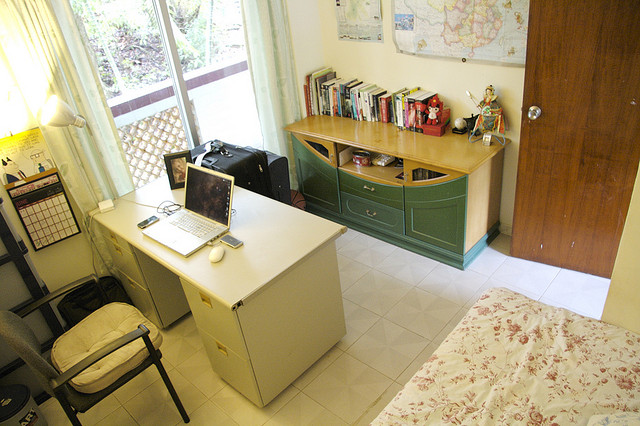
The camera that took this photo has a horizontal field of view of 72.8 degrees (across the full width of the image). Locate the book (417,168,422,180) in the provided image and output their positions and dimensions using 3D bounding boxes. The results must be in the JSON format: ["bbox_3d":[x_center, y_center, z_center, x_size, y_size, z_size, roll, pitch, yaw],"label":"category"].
[{"bbox_3d":[0.897,-0.348,3.910,0.040,0.097,0.043,0,31,10],"label":"book"}]

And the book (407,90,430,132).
[{"bbox_3d":[0.915,-0.937,4.028,0.117,0.361,0.335,6,13,20],"label":"book"}]

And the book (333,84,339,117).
[{"bbox_3d":[0.159,-1.172,4.534,0.052,0.296,0.070,2,32,14],"label":"book"}]

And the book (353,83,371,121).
[{"bbox_3d":[0.425,-1.111,4.385,0.153,0.255,0.269,15,43,33],"label":"book"}]

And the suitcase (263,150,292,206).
[{"bbox_3d":[-0.462,-0.308,4.318,0.308,0.519,0.168,-7,14,19],"label":"suitcase"}]

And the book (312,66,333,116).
[{"bbox_3d":[0.016,-1.274,4.611,0.063,0.436,0.377,15,37,22],"label":"book"}]

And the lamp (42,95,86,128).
[{"bbox_3d":[-1.918,-0.769,3.285,0.283,0.218,0.257,-11,35,-20],"label":"lamp"}]

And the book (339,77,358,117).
[{"bbox_3d":[0.289,-1.171,4.472,0.165,0.295,0.301,14,45,22],"label":"book"}]

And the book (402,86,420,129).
[{"bbox_3d":[0.852,-0.971,4.067,0.102,0.292,0.306,8,40,22],"label":"book"}]

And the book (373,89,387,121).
[{"bbox_3d":[0.589,-1.059,4.293,0.034,0.243,0.213,12,39,25],"label":"book"}]

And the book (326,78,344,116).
[{"bbox_3d":[0.152,-1.201,4.539,0.104,0.280,0.297,15,40,23],"label":"book"}]

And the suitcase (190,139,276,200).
[{"bbox_3d":[-0.859,-0.504,4.107,0.620,0.546,0.785,-23,39,-37],"label":"suitcase"}]

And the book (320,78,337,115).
[{"bbox_3d":[0.086,-1.229,4.574,0.096,0.274,0.292,10,36,19],"label":"book"}]

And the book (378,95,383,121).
[{"bbox_3d":[0.593,-1.046,4.290,0.023,0.216,0.163,7,33,23],"label":"book"}]

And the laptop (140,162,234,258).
[{"bbox_3d":[-0.987,-0.030,3.196,0.578,0.452,0.526,-28,37,-32],"label":"laptop"}]

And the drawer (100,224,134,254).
[{"bbox_3d":[-1.615,0.233,3.436,0.269,0.062,0.240,25,27,21],"label":"drawer"}]

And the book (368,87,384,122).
[{"bbox_3d":[0.550,-1.065,4.315,0.131,0.218,0.231,10,41,26],"label":"book"}]

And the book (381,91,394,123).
[{"bbox_3d":[0.658,-1.026,4.253,0.078,0.226,0.237,11,37,22],"label":"book"}]

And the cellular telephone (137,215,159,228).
[{"bbox_3d":[-1.340,0.072,3.370,0.116,0.023,0.211,8,30,31],"label":"cellular telephone"}]

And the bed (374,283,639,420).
[{"bbox_3d":[1.195,0.880,2.601,1.380,0.189,0.885,3,31,15],"label":"bed"}]

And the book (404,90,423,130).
[{"bbox_3d":[0.870,-0.958,4.047,0.154,0.256,0.270,11,39,24],"label":"book"}]

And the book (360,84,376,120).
[{"bbox_3d":[0.477,-1.102,4.353,0.040,0.287,0.248,14,40,24],"label":"book"}]

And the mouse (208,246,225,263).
[{"bbox_3d":[-0.718,0.285,3.034,0.087,0.061,0.115,7,50,22],"label":"mouse"}]
